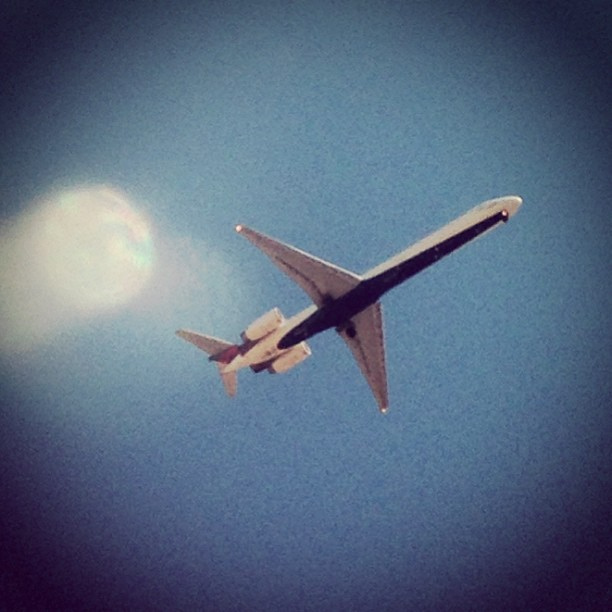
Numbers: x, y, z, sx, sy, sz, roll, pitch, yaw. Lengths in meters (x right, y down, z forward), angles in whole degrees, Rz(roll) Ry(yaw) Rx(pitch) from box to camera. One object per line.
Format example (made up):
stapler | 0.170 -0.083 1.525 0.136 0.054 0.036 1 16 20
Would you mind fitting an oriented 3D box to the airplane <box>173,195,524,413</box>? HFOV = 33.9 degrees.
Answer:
airplane | 0.555 -0.069 12.667 3.831 0.870 2.668 -27 -77 4
